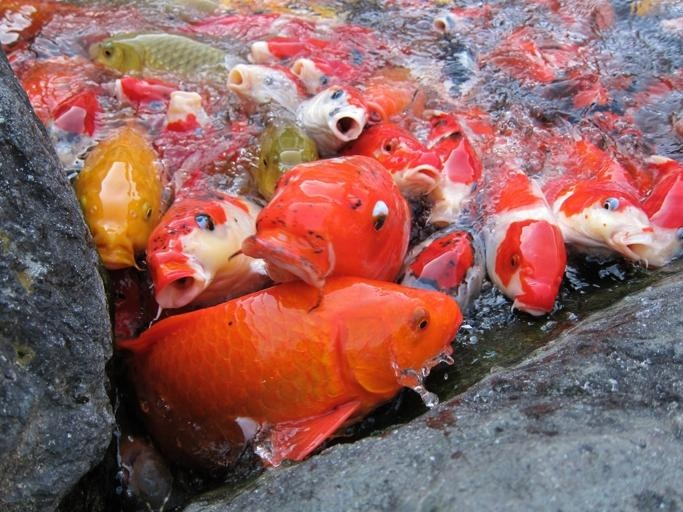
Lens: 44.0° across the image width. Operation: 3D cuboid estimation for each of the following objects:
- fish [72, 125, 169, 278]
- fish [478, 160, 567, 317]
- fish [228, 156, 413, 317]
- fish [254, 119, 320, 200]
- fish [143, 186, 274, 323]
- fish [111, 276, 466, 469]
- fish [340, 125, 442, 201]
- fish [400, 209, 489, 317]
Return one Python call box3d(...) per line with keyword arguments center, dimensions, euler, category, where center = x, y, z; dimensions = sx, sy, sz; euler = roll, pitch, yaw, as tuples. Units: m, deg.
box3d(center=(-0.955, -0.276, 3.666), dimensions=(0.255, 0.305, 0.723), euler=(9, 41, -19), category="fish")
box3d(center=(0.761, -0.098, 3.847), dimensions=(0.248, 0.366, 0.755), euler=(-1, 43, -15), category="fish")
box3d(center=(-0.006, -0.111, 3.562), dimensions=(0.575, 0.502, 0.837), euler=(24, 30, 28), category="fish")
box3d(center=(-0.272, -0.465, 3.899), dimensions=(0.210, 0.197, 0.416), euler=(7, 32, -13), category="fish")
box3d(center=(-0.539, -0.027, 3.617), dimensions=(0.305, 0.310, 0.707), euler=(1, 29, 17), category="fish")
box3d(center=(-0.206, 0.395, 3.451), dimensions=(1.515, 0.639, 0.558), euler=(-20, 15, 1), category="fish")
box3d(center=(0.232, -0.441, 3.910), dimensions=(0.278, 0.171, 0.429), euler=(17, 19, -37), category="fish")
box3d(center=(0.475, -0.015, 3.669), dimensions=(0.250, 0.216, 0.456), euler=(11, 51, -4), category="fish")
